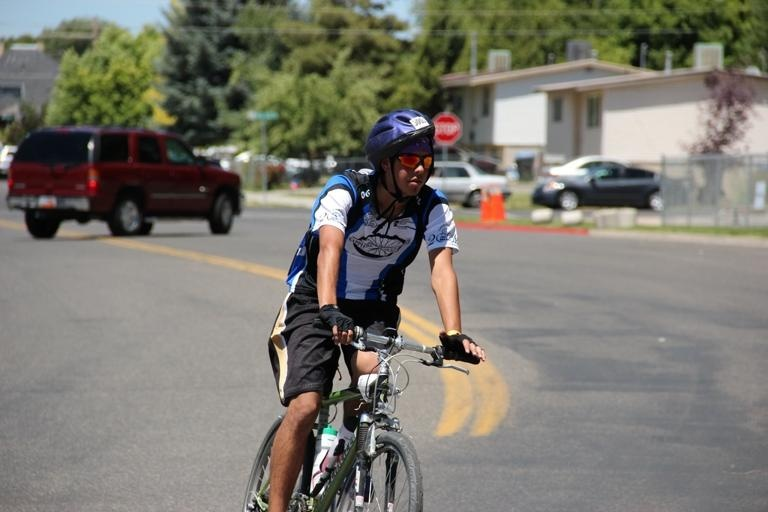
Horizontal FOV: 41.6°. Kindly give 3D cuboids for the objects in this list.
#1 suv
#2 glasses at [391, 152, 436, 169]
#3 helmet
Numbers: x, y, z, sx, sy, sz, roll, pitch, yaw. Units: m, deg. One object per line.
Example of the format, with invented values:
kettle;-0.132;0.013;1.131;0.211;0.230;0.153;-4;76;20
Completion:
suv;-5.015;-1.410;19.252;1.679;1.376;3.316;2;4;37
glasses;0.226;-0.672;7.273;0.254;0.106;0.073;-2;8;-18
helmet;0.118;-0.831;7.384;0.453;0.408;0.369;-12;-10;37
